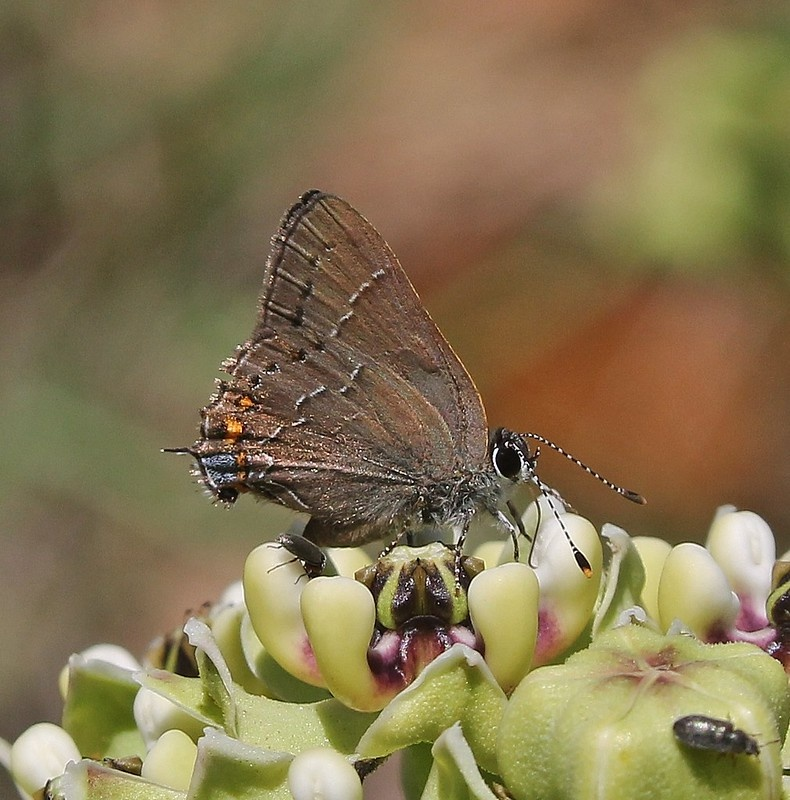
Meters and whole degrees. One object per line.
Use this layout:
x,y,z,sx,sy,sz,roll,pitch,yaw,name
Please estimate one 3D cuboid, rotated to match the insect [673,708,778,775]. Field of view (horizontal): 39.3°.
0.434,0.428,1.412,0.149,0.081,0.048,-12,14,-13,insect
